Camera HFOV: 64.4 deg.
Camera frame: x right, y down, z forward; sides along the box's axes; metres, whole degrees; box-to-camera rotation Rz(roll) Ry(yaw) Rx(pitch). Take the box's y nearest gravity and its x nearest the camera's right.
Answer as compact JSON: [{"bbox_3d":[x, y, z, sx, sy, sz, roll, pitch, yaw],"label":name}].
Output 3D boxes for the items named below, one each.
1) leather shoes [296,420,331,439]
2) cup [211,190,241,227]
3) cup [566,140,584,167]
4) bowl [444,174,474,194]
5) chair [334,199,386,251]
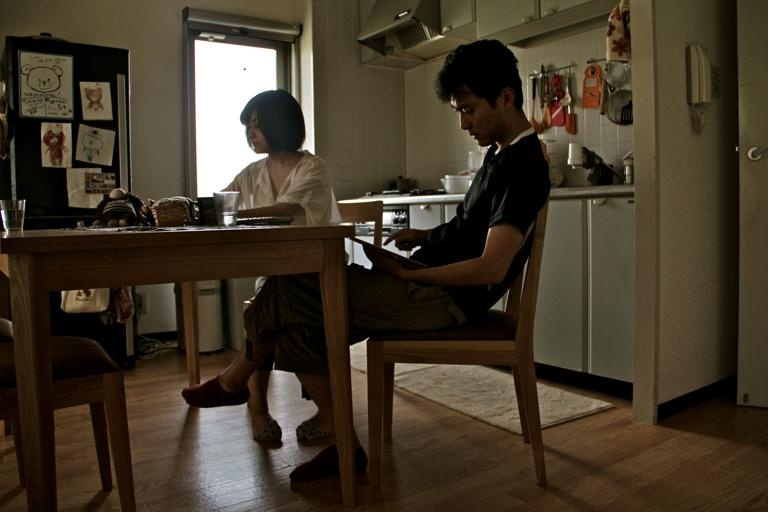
[{"bbox_3d":[-0.349,0.840,2.971,0.132,0.088,0.083,2,-2,-17],"label":"leather shoes"},{"bbox_3d":[-0.635,-0.193,2.451,0.117,0.143,0.120,2,8,0],"label":"cup"},{"bbox_3d":[1.284,-0.683,4.068,0.096,0.141,0.131,2,11,18],"label":"cup"},{"bbox_3d":[0.540,-0.538,4.424,0.195,0.102,0.163,-6,9,-33],"label":"bowl"},{"bbox_3d":[-0.085,-0.189,3.457,0.207,0.400,0.266,0,10,2],"label":"chair"}]
